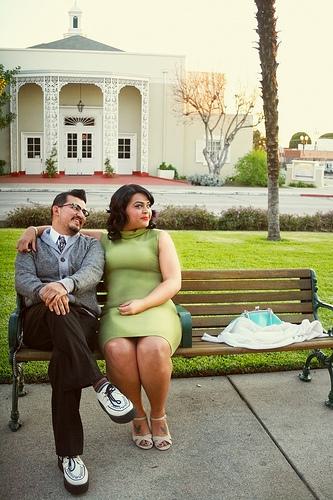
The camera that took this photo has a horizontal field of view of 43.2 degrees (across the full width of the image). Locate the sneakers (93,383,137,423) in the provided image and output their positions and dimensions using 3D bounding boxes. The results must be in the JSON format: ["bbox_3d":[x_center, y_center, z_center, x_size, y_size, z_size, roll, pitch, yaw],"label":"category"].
[{"bbox_3d":[-0.249,0.703,1.999,0.100,0.094,0.257,-35,25,-14],"label":"sneakers"}]

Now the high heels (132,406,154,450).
[{"bbox_3d":[-0.143,1.001,2.345,0.083,0.097,0.243,-5,2,-11],"label":"high heels"}]

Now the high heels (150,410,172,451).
[{"bbox_3d":[-0.030,0.991,2.304,0.121,0.169,0.117,1,4,1],"label":"high heels"}]

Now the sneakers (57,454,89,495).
[{"bbox_3d":[-0.419,1.016,1.915,0.116,0.124,0.140,0,4,-15],"label":"sneakers"}]

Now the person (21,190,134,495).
[{"bbox_3d":[-0.541,0.354,2.300,0.547,1.418,1.045,-1,4,-20],"label":"person"}]

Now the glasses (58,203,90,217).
[{"bbox_3d":[-0.598,-0.262,2.659,0.097,0.029,0.098,15,-10,44],"label":"glasses"}]
